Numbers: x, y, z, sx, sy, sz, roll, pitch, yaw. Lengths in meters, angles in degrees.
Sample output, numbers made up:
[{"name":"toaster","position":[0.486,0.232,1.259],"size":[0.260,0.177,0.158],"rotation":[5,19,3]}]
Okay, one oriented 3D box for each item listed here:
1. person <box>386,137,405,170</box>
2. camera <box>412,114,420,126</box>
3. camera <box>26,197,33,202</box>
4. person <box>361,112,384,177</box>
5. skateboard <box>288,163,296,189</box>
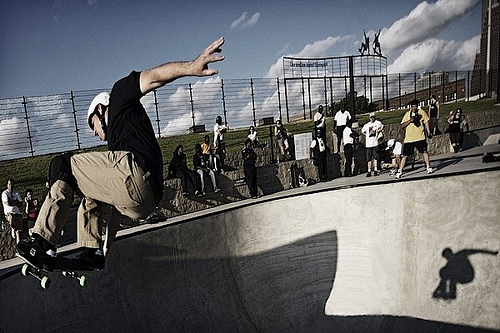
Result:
[{"name":"person","position":[5.836,-0.480,14.302],"size":[0.411,1.180,1.175],"rotation":[1,-25,19]},{"name":"camera","position":[5.572,-1.557,11.865],"size":[0.220,0.387,0.155],"rotation":[-4,6,19]},{"name":"camera","position":[-6.601,0.996,10.604],"size":[0.142,0.126,0.058],"rotation":[-10,7,-38]},{"name":"person","position":[4.991,-0.873,14.302],"size":[0.754,2.616,1.000],"rotation":[-3,6,21]},{"name":"skateboard","position":[1.785,0.388,14.773],"size":[0.317,1.010,0.161],"rotation":[-9,6,-35]}]
